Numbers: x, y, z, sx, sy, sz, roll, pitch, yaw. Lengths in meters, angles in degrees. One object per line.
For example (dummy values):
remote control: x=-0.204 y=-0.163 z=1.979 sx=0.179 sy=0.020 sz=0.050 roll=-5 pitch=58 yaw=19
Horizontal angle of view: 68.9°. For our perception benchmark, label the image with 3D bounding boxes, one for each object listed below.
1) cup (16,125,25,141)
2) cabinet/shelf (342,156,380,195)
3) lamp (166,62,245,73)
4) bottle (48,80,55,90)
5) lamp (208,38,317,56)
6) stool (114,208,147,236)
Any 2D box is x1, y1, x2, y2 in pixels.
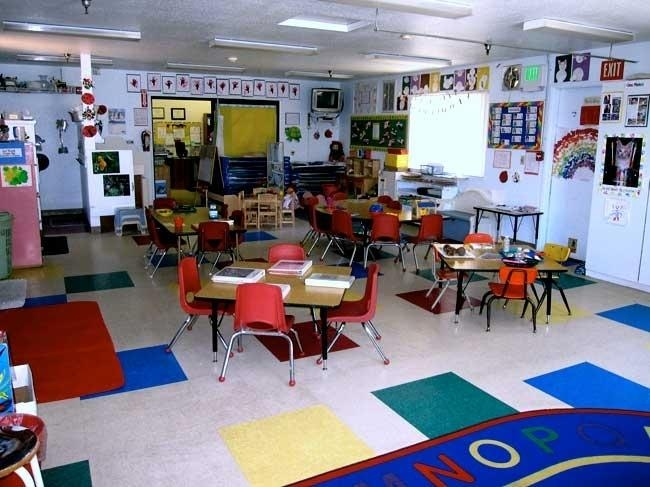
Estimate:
cup: x=-4.948 y=-1.784 z=7.686 sx=0.167 sy=0.251 sz=0.340 roll=-8 pitch=16 yaw=-27
cabinet/shelf: x=0.927 y=-1.805 z=13.535 sx=0.682 sy=1.161 sz=1.213 roll=-4 pitch=14 yaw=-32
lamp: x=-2.880 y=-4.282 z=11.597 sx=1.814 sy=0.302 sz=0.126 roll=-4 pitch=30 yaw=-24
bottle: x=-6.471 y=-3.753 z=11.247 sx=0.124 sy=0.305 sz=0.647 roll=-7 pitch=16 yaw=-27
lamp: x=-1.052 y=-3.427 z=8.257 sx=1.801 sy=0.137 sz=0.460 roll=-6 pitch=15 yaw=-24
stool: x=-4.289 y=-0.558 z=10.464 sx=0.706 sy=0.565 sz=0.693 roll=-6 pitch=17 yaw=-29
